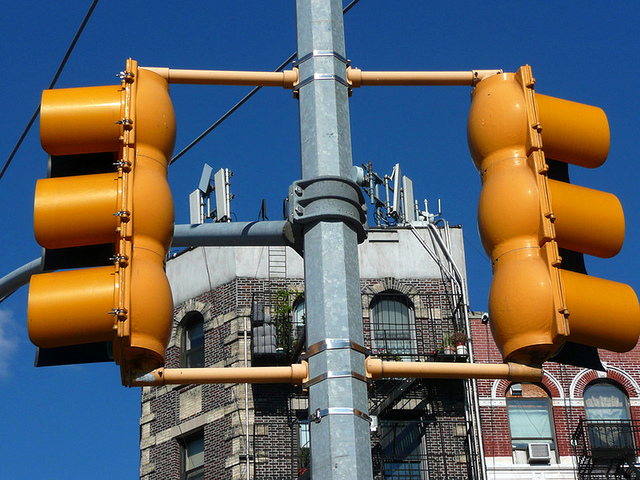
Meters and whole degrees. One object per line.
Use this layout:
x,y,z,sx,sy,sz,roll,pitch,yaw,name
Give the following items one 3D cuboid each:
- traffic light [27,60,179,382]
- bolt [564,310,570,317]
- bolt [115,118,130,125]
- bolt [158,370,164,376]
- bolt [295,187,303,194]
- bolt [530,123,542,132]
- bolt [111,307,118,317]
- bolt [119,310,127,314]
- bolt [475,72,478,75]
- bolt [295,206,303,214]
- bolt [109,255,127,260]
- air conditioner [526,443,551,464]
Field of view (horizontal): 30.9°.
-1.911,-0.228,10.726,1.242,3.384,1.062,-7,-34,3,traffic light
2.209,0.644,10.382,0.046,0.054,0.049,3,-26,-2,bolt
-1.826,-1.110,10.682,0.138,0.051,0.022,-8,-25,9,bolt
-1.400,1.151,10.151,0.035,0.037,0.036,1,-23,-6,bolt
-0.190,-0.459,10.415,0.077,0.068,0.017,15,-29,-33,bolt
2.082,-1.102,11.096,0.103,0.083,0.040,2,-25,-10,bolt
-1.766,0.602,9.980,0.050,0.083,0.042,-3,-24,1,bolt
-1.699,0.603,9.974,0.063,0.026,0.018,10,-27,-24,bolt
1.554,-1.678,11.508,0.030,0.033,0.029,7,-7,-44,bolt
-0.185,-0.286,10.377,0.046,0.070,0.024,10,-11,-1,bolt
-1.781,0.141,10.193,0.089,0.032,0.067,2,1,1,bolt
5.332,5.126,28.233,0.657,0.530,0.379,2,-11,-12,air conditioner
